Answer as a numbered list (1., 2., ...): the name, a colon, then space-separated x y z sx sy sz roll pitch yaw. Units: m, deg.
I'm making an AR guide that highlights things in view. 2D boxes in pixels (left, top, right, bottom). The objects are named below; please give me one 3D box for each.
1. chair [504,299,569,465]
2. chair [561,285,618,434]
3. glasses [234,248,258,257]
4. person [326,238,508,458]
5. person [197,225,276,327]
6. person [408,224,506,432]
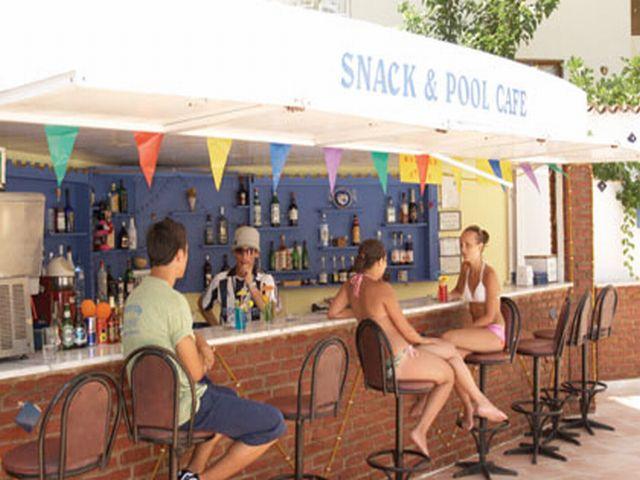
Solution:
1. chair: 1.928 1.160 6.362 0.509 1.388 0.558 2 -1 -25
2. chair: 2.686 1.135 7.113 0.429 1.347 0.478 12 -4 -7
3. glasses: -0.625 0.087 6.212 0.094 0.068 0.124 4 -1 -27
4. person: 0.752 0.764 5.403 1.269 1.653 0.565 -1 11 -5
5. person: -0.679 0.418 6.306 0.653 1.039 0.504 -4 -9 24
6. person: 1.175 0.658 5.948 0.730 1.611 0.502 -1 1 -33
